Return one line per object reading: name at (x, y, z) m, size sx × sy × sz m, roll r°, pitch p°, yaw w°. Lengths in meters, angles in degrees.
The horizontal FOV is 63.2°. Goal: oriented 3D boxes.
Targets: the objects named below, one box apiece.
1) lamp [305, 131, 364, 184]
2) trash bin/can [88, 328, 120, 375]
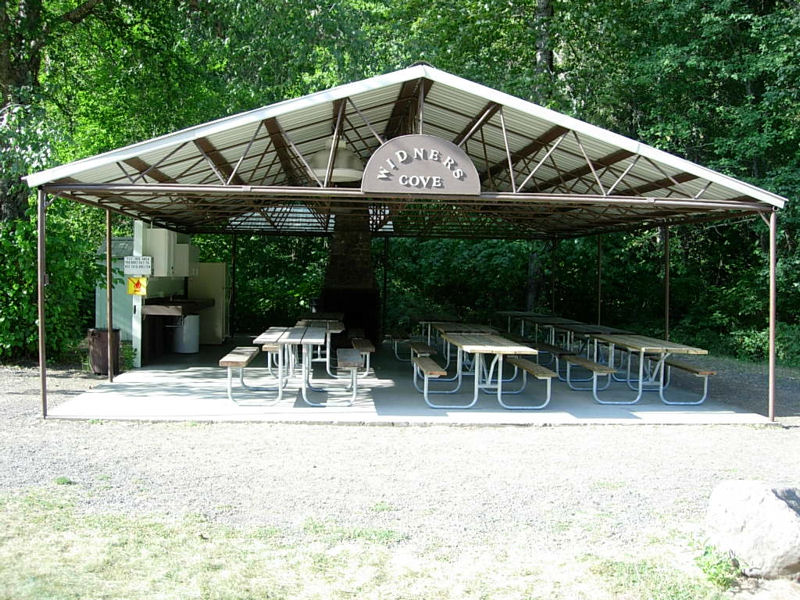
lamp at (-0.872, -2.147, 9.689) m, size 1.086 × 0.744 × 0.933 m, roll 0°, pitch 1°, yaw -7°
trash bin/can at (-4.945, 0.864, 10.933) m, size 0.467 × 0.774 × 0.509 m, roll 0°, pitch -2°, yaw -22°
